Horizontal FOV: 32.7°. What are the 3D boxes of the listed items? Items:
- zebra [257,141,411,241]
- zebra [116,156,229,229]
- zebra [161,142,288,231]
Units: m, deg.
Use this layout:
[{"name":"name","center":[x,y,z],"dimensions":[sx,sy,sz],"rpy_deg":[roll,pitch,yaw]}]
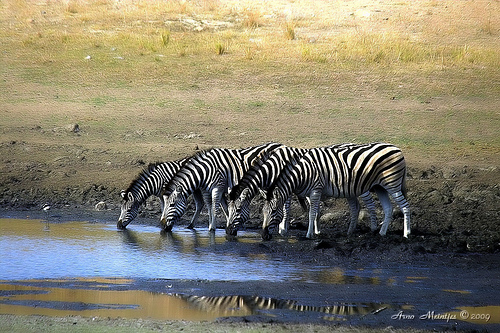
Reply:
[{"name":"zebra","center":[2.264,0.629,22.403],"dimensions":[3.703,2.464,0.846],"rpy_deg":[0,5,-4]},{"name":"zebra","center":[-2.263,0.883,24.457],"dimensions":[1.179,1.922,4.280],"rpy_deg":[2,6,43]},{"name":"zebra","center":[-0.772,0.524,23.950],"dimensions":[4.647,2.125,1.105],"rpy_deg":[-12,18,-43]}]
